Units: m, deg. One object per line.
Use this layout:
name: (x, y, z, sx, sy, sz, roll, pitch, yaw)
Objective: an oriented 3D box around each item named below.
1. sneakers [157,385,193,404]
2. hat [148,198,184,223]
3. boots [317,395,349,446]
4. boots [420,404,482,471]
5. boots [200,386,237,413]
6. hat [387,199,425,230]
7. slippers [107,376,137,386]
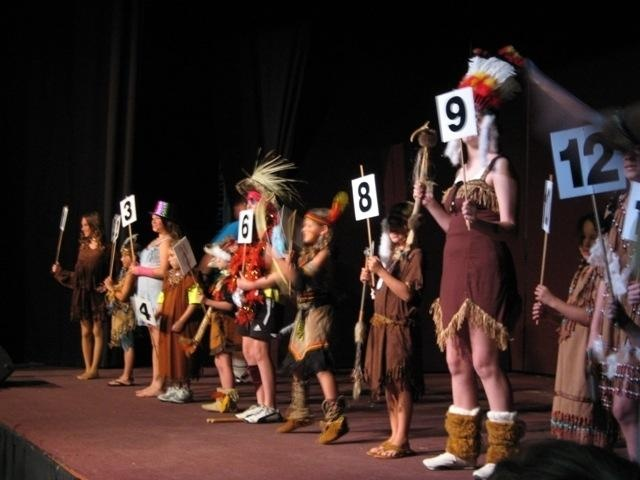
sneakers: (-1.353, 1.504, 6.003, 0.316, 0.239, 0.146, 2, -12, 18)
hat: (-1.495, -0.272, 6.261, 0.291, 0.191, 0.347, 12, -7, 41)
boots: (0.070, 1.285, 4.361, 0.274, 0.286, 0.136, -22, 8, -29)
boots: (0.744, 1.124, 3.536, 0.320, 0.392, 0.197, -2, 9, 5)
boots: (-0.895, 1.438, 5.558, 0.353, 0.260, 0.180, 3, -3, 23)
hat: (0.581, -0.145, 4.059, 0.149, 0.194, 0.200, 7, 32, 47)
slippers: (-2.161, 1.566, 6.813, 0.200, 0.077, 0.123, 4, -11, -7)
